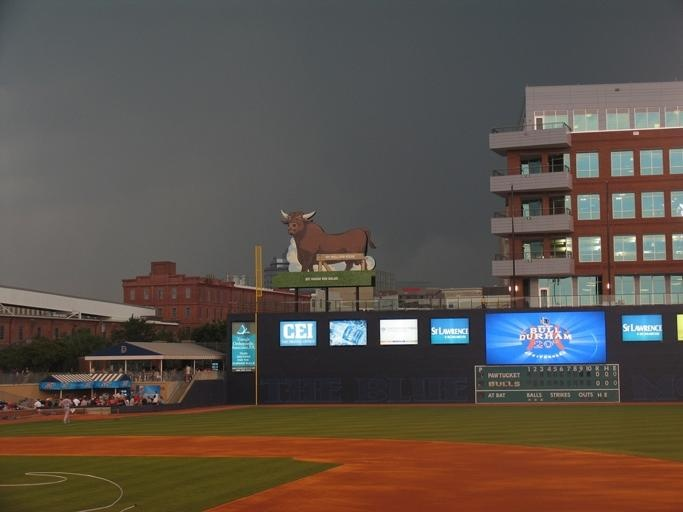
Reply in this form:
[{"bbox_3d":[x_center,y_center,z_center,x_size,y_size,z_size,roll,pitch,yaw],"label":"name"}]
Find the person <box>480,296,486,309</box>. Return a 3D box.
[{"bbox_3d":[11.926,3.889,106.517,0.449,1.046,0.450,-1,-14,10],"label":"person"}]
